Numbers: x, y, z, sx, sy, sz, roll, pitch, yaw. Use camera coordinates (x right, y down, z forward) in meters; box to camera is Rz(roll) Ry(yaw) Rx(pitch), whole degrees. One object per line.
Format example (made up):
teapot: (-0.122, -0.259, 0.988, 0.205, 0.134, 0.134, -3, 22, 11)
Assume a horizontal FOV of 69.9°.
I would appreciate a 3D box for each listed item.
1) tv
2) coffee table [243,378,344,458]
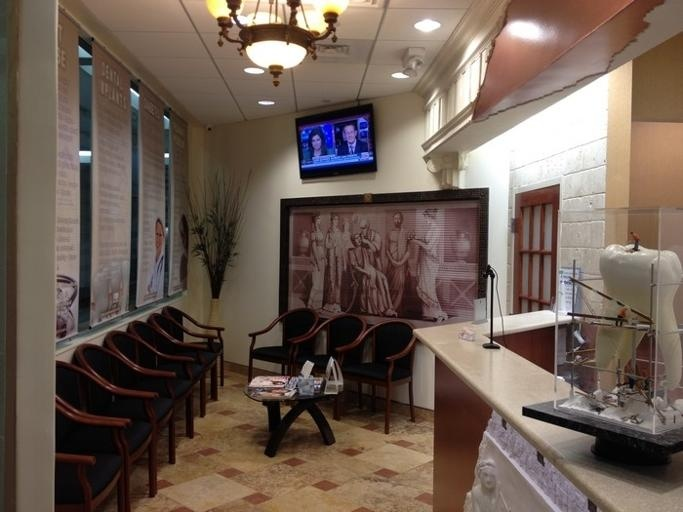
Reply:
tv: (-0.042, -1.372, 5.783, 0.825, 0.683, 0.093, 1, 8, 28)
coffee table: (-0.504, 1.393, 4.597, 0.809, 0.621, 1.044, 0, 2, -13)
